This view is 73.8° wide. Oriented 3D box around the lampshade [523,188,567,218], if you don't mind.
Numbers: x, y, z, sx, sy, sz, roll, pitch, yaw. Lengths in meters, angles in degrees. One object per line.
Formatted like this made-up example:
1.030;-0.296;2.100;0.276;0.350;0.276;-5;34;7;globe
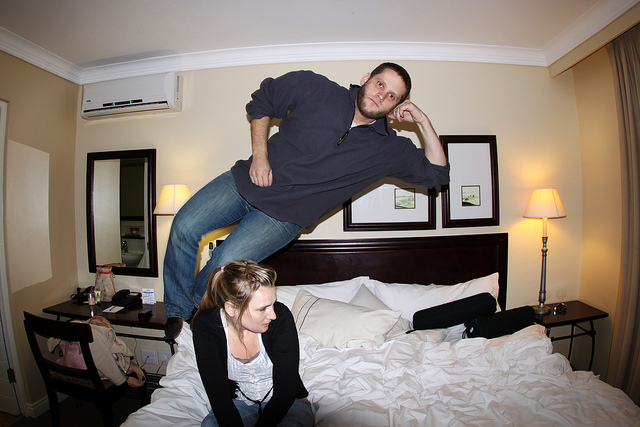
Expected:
2.190;-0.101;4.153;0.303;0.297;0.308;1;4;13;lampshade

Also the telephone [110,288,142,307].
-1.959;0.864;4.338;0.220;0.096;0.182;0;7;29;telephone

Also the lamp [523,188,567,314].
2.180;0.338;4.296;0.413;1.202;0.404;0;0;-12;lamp

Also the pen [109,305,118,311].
-2.046;0.938;4.228;0.039;0.027;0.080;1;1;8;pen

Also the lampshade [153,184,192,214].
-1.429;-0.141;4.110;0.308;0.327;0.324;1;-3;-5;lampshade

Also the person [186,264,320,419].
-0.507;0.936;3.125;0.860;1.119;0.253;1;1;-2;person
